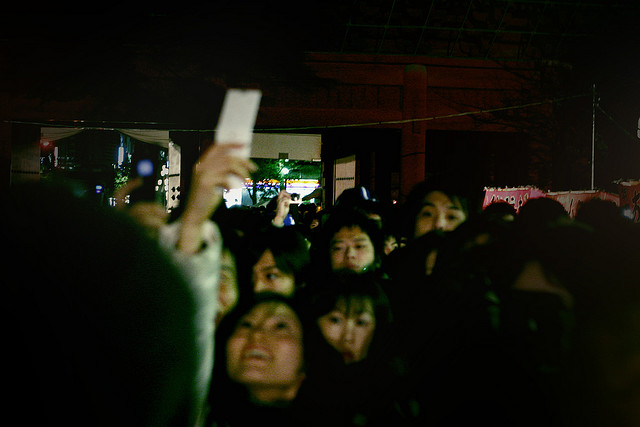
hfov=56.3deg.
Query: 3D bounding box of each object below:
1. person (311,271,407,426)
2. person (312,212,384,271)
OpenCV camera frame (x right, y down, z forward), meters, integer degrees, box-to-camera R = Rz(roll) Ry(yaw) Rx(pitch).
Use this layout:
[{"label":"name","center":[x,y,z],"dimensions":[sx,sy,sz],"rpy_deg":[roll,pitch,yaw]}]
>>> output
[{"label":"person","center":[0.523,1.612,7.710],"dimensions":[1.277,1.645,0.858],"rpy_deg":[-4,5,0]},{"label":"person","center":[0.374,0.381,8.075],"dimensions":[0.865,0.915,1.086],"rpy_deg":[-3,-7,-13]}]
